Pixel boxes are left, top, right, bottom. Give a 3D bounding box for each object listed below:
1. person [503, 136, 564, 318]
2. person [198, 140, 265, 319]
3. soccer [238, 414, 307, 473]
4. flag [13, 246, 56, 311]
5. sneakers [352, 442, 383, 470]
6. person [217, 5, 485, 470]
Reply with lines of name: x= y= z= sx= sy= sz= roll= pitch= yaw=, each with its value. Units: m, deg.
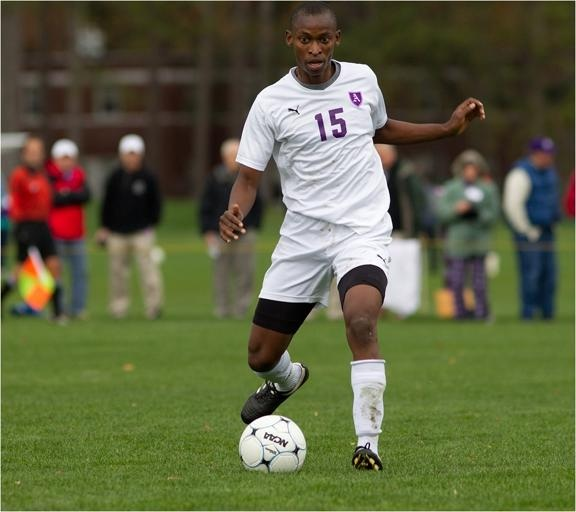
person: x=2.828 y=-0.306 z=13.031 sx=0.661 sy=2.077 sz=0.552 roll=0 pitch=3 yaw=3
person: x=-0.616 y=-0.378 z=13.939 sx=0.680 sy=2.112 sz=0.656 roll=-14 pitch=-16 yaw=25
soccer: x=-0.095 y=1.160 z=7.012 sx=0.320 sy=0.334 sz=0.314 roll=22 pitch=-25 yaw=-3
flag: x=-2.583 y=0.210 z=11.555 sx=0.318 sy=0.124 sz=0.959 roll=-1 pitch=-43 yaw=-14
sneakers: x=0.472 y=1.199 z=6.789 sx=0.089 sy=0.124 sz=0.248 roll=3 pitch=-31 yaw=13
person: x=0.164 y=-0.176 z=7.227 sx=1.095 sy=2.863 sz=0.959 roll=1 pitch=3 yaw=10
